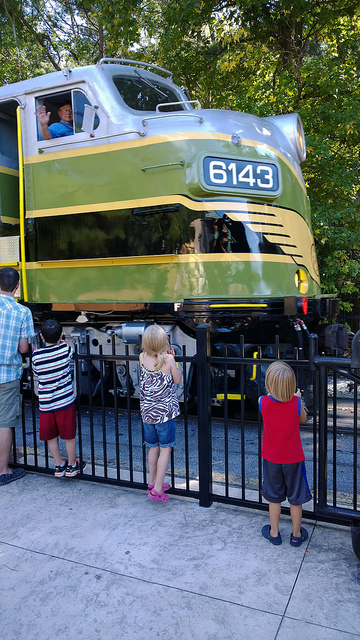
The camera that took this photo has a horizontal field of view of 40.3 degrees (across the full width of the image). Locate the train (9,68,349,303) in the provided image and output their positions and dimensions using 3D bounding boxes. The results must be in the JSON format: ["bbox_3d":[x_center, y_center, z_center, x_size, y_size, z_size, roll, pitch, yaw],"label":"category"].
[{"bbox_3d":[-0.041,-1.554,5.699,4.021,2.422,2.251,2,5,36],"label":"train"}]

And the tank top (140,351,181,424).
[{"bbox_3d":[-0.150,0.463,3.343,0.275,0.427,0.232,8,20,23],"label":"tank top"}]

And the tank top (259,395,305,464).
[{"bbox_3d":[0.561,0.602,2.750,0.248,0.373,0.159,-1,1,23],"label":"tank top"}]

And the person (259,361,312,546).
[{"bbox_3d":[0.582,0.734,2.732,0.276,0.980,0.220,-1,1,15],"label":"person"}]

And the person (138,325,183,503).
[{"bbox_3d":[-0.135,0.637,3.323,0.269,0.913,0.299,-2,1,-5],"label":"person"}]

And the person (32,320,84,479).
[{"bbox_3d":[-0.931,0.631,3.768,0.373,1.074,0.247,-2,1,-21],"label":"person"}]
